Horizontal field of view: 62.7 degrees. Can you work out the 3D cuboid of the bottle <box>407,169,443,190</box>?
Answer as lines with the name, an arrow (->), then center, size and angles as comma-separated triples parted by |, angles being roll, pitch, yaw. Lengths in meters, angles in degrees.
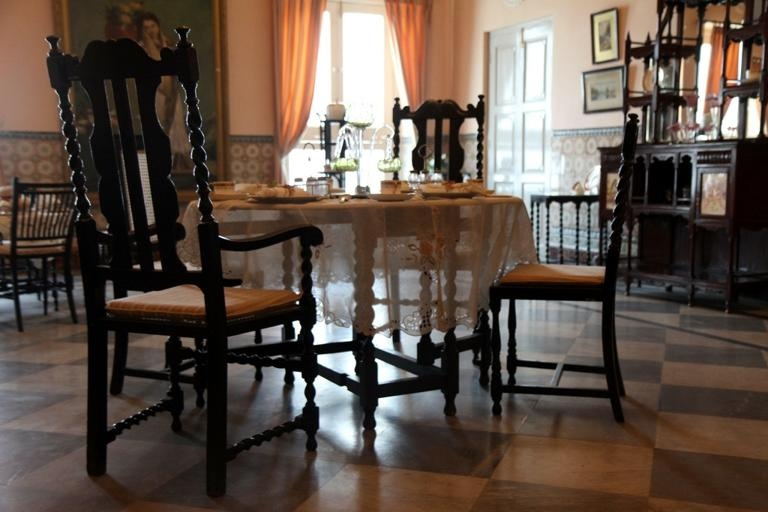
bottle -> 0.250, -0.460, 3.811 | 0.252, 0.096, 0.247 | 0, 1, 0

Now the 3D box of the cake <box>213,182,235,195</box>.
cake -> -0.913, -0.383, 3.552 | 0.135, 0.094, 0.101 | 0, 6, 4
